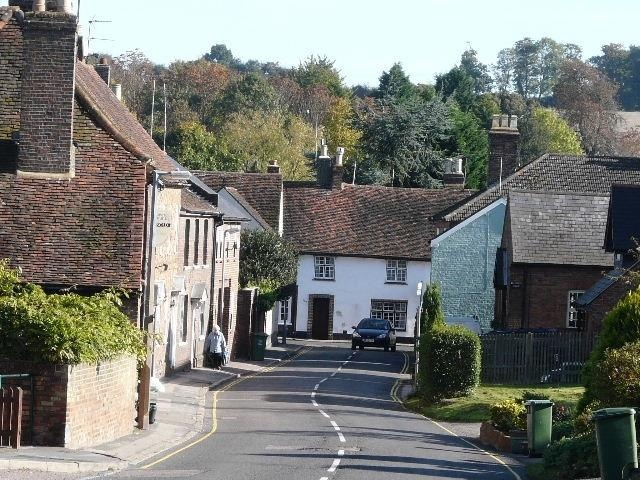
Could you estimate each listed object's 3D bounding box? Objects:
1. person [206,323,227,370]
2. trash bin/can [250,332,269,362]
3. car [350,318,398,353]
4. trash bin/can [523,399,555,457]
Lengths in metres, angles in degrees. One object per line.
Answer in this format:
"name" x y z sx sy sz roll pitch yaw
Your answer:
"person" -4.592 4.752 66.788 0.826 1.978 1.248 2 -6 -5
"trash bin/can" -2.911 5.078 71.506 0.712 1.313 1.404 1 -6 -2
"car" 2.928 5.108 81.347 2.317 1.837 2.291 1 -6 1
"trash bin/can" 7.306 6.215 49.779 0.834 1.852 0.752 1 -5 6
